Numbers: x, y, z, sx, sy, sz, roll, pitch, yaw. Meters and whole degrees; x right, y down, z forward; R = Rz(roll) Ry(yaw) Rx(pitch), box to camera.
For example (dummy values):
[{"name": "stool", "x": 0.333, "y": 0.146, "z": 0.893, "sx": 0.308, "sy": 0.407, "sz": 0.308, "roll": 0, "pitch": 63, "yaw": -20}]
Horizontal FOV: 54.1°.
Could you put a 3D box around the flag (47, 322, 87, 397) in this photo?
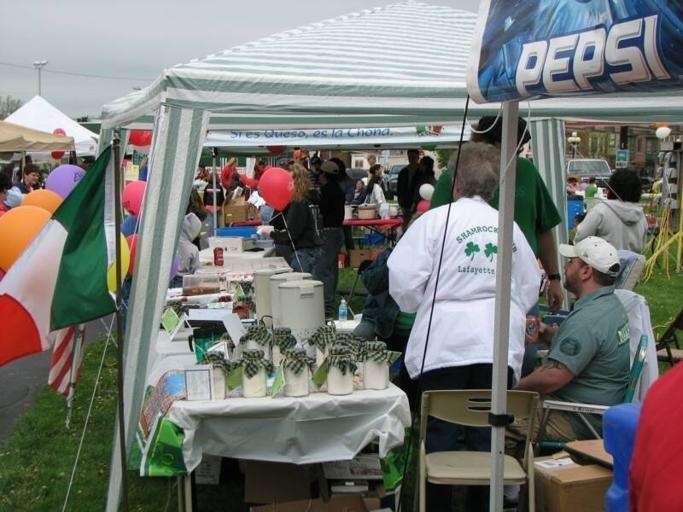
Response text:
[{"name": "flag", "x": -2.189, "y": 0.822, "z": 5.363, "sx": 0.248, "sy": 0.609, "sz": 0.309, "roll": 0, "pitch": 10, "yaw": -7}]

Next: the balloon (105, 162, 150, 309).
[{"name": "balloon", "x": -1.509, "y": -0.123, "z": 4.688, "sx": 0.342, "sy": 1.430, "sz": 0.382, "roll": 2, "pitch": 11, "yaw": -6}]

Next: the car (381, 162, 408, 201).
[{"name": "car", "x": 1.823, "y": -2.556, "z": 23.022, "sx": 0.969, "sy": 1.116, "sz": 2.148, "roll": -1, "pitch": 3, "yaw": 1}]

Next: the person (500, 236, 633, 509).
[{"name": "person", "x": 1.351, "y": 0.586, "z": 4.076, "sx": 0.647, "sy": 1.469, "sz": 0.705, "roll": 11, "pitch": 11, "yaw": 17}]

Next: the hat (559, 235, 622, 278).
[{"name": "hat", "x": 1.512, "y": -0.002, "z": 4.057, "sx": 0.308, "sy": 0.192, "sz": 0.211, "roll": 20, "pitch": 18, "yaw": 30}]
